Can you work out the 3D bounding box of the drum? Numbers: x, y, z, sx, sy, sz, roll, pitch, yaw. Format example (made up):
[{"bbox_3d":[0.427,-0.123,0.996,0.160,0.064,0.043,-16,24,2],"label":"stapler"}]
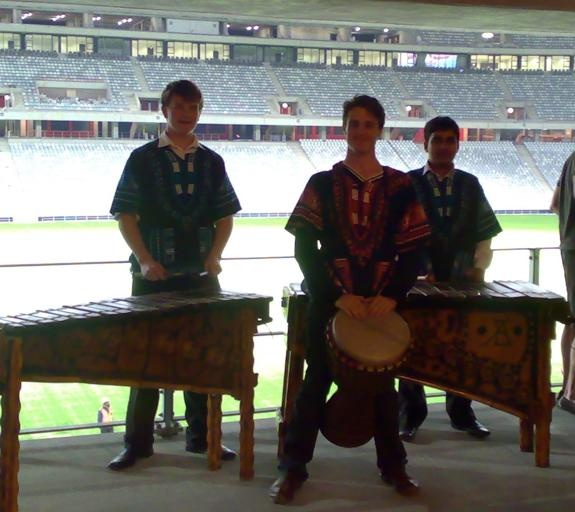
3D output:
[{"bbox_3d":[0.218,0.464,2.690,0.318,0.518,0.325,15,37,-12],"label":"drum"}]

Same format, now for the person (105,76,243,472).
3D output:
[{"bbox_3d":[-0.481,0.064,3.002,0.570,1.620,0.374,-1,5,-5],"label":"person"}]

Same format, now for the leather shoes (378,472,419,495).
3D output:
[{"bbox_3d":[0.439,0.875,2.733,0.058,0.068,0.144,-6,5,-38],"label":"leather shoes"}]

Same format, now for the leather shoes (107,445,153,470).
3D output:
[{"bbox_3d":[-0.663,0.853,2.981,0.189,0.086,0.062,-3,3,-41],"label":"leather shoes"}]

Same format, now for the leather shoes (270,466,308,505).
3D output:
[{"bbox_3d":[0.004,0.872,2.632,0.065,0.086,0.193,0,-5,21],"label":"leather shoes"}]
